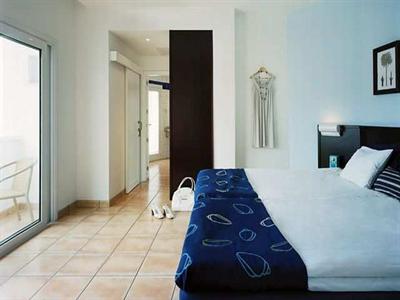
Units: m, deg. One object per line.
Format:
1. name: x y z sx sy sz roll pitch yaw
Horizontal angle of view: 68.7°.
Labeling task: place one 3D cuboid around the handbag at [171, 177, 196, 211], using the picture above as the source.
1. handbag: -0.260 0.692 4.473 0.320 0.549 0.190 -4 -34 14

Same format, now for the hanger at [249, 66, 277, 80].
1. hanger: 1.029 -1.273 4.815 0.409 0.201 0.073 -2 13 -8
